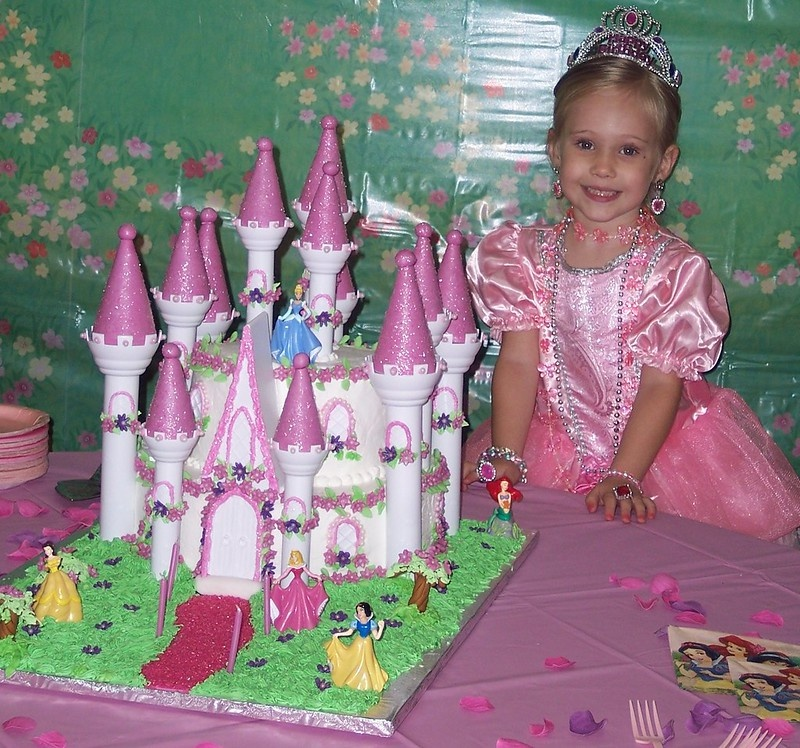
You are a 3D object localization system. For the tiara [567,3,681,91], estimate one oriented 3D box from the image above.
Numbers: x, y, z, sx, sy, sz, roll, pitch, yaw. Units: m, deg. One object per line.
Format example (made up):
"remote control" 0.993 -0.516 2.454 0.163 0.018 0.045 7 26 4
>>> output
"tiara" 0.681 -0.970 2.789 0.324 0.261 0.356 10 14 27

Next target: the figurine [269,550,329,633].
"figurine" -0.179 0.373 1.625 0.101 0.132 0.088 -3 1 -11

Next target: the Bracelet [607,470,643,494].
"Bracelet" 0.587 0.289 2.457 0.064 0.027 0.074 1 23 -14

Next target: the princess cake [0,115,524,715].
"princess cake" -0.330 0.016 1.846 0.973 0.999 1.013 4 12 11

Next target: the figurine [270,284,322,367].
"figurine" -0.201 -0.087 1.849 0.106 0.159 0.091 2 2 21

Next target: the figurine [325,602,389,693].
"figurine" -0.067 0.413 1.447 0.103 0.119 0.084 3 1 11
